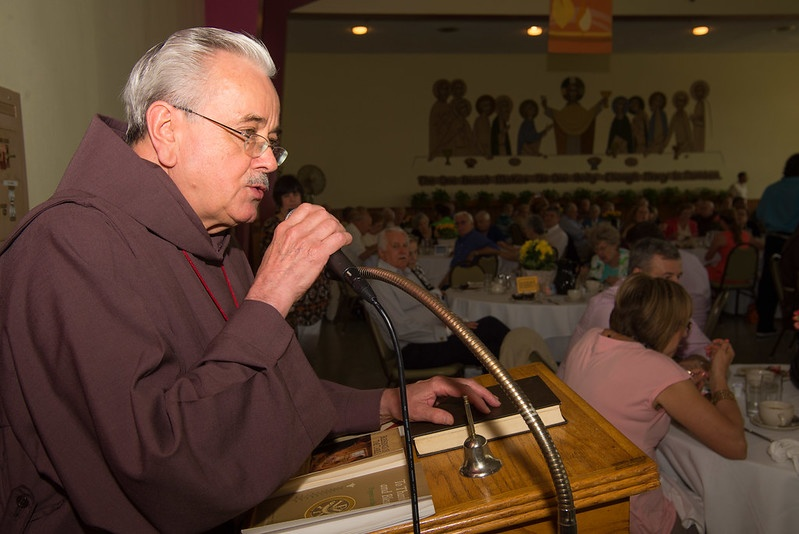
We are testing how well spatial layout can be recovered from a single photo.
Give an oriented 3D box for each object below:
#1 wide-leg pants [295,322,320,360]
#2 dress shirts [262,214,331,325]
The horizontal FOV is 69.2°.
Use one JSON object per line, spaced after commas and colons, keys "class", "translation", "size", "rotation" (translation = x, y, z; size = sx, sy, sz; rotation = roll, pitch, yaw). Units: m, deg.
{"class": "wide-leg pants", "translation": [-0.775, 0.627, 4.970], "size": [0.209, 0.359, 0.241], "rotation": [-9, -24, 18]}
{"class": "dress shirts", "translation": [-0.876, 0.047, 4.791], "size": [0.553, 1.097, 0.780], "rotation": [-7, -9, -2]}
